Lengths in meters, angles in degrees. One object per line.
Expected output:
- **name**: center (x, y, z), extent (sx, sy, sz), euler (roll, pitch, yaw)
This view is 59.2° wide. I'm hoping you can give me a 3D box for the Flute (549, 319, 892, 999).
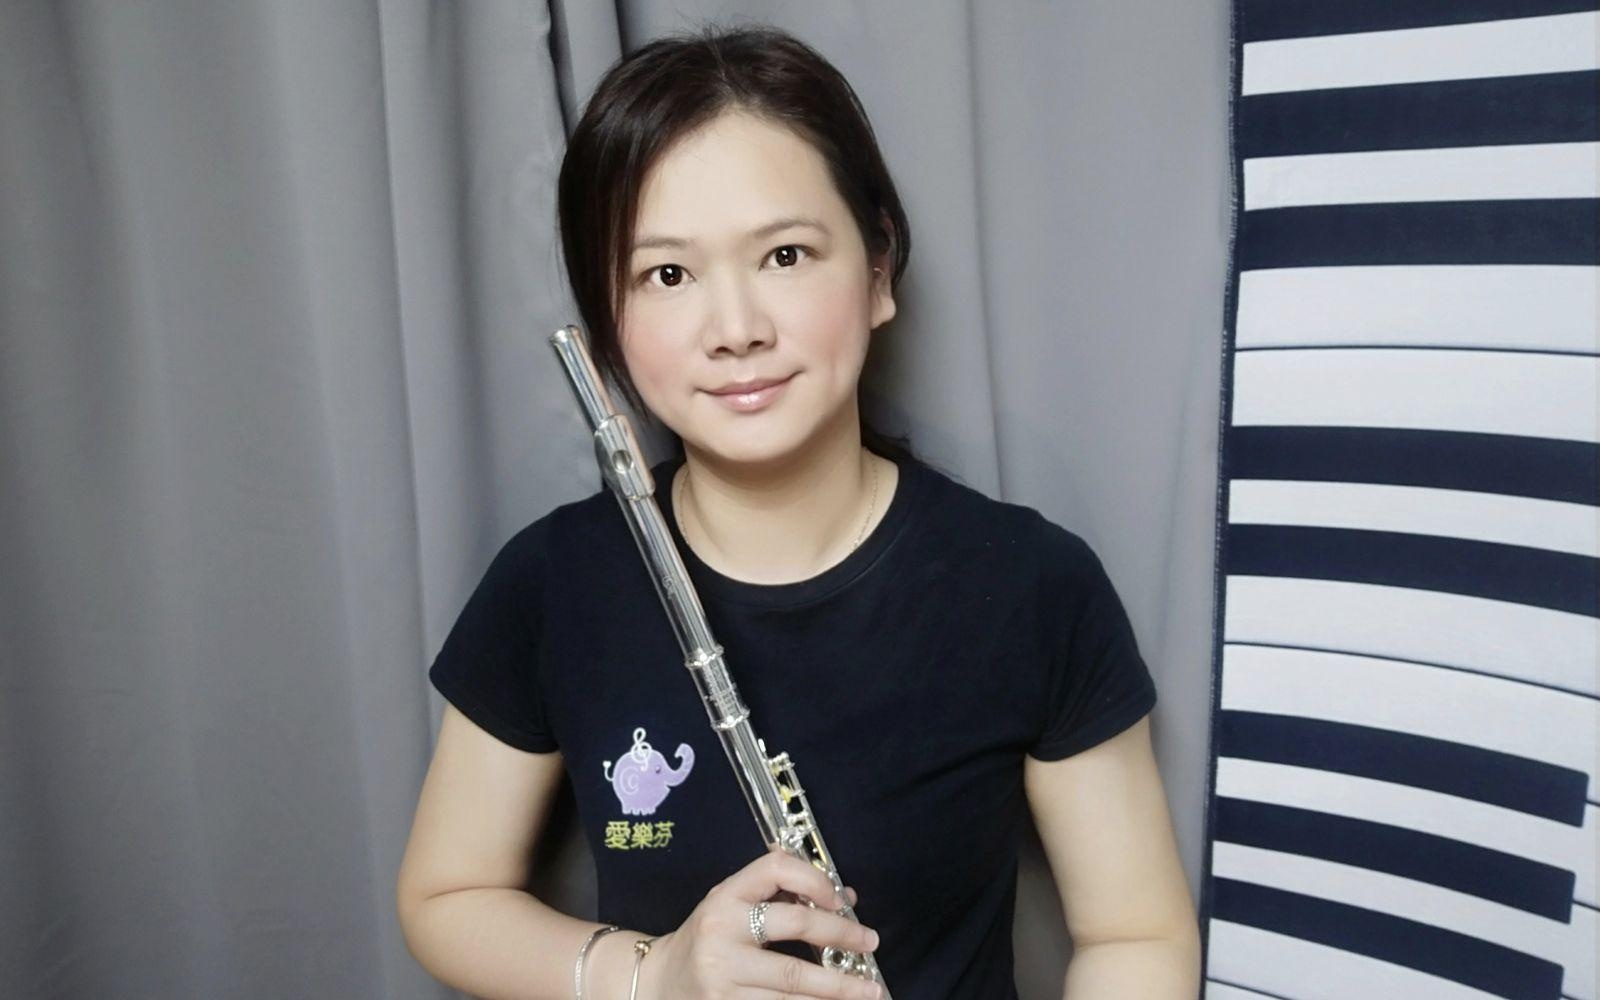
- **Flute**: center (-0.084, 0.205, 1.679), extent (0.113, 0.854, 0.083), euler (-21, 4, 26)
